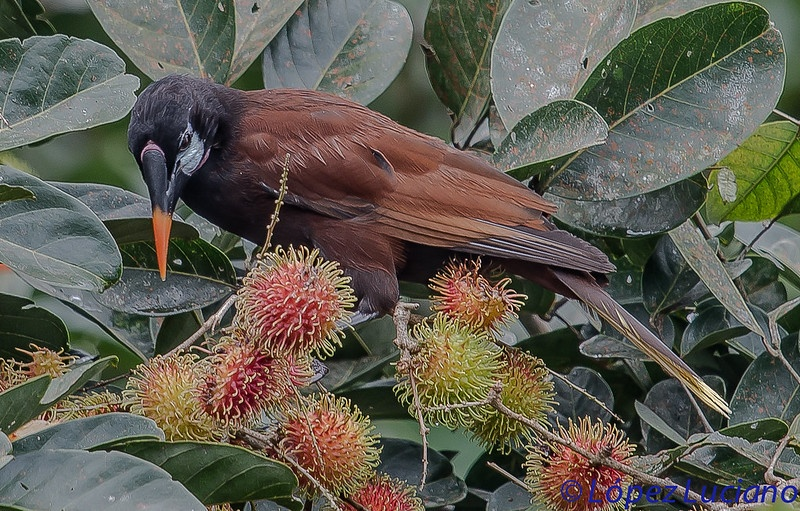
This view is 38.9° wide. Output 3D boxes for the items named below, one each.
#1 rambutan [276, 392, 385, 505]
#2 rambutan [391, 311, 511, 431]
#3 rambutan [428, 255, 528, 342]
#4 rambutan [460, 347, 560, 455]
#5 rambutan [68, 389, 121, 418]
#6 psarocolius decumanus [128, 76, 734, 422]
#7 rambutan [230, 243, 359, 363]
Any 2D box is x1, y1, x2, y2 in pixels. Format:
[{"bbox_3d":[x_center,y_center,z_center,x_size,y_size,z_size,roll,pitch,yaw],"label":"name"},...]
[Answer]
[{"bbox_3d":[-0.198,0.546,3.404,0.307,0.307,0.289,36,5,23],"label":"rambutan"},{"bbox_3d":[0.131,0.314,3.485,0.329,0.322,0.440,-4,9,-6],"label":"rambutan"},{"bbox_3d":[0.260,0.137,3.556,0.266,0.143,0.256,-1,31,-27],"label":"rambutan"},{"bbox_3d":[0.338,0.428,3.471,0.274,0.328,0.240,-3,14,-12],"label":"rambutan"},{"bbox_3d":[-0.871,0.418,3.265,0.113,0.037,0.076,-11,8,-39],"label":"rambutan"},{"bbox_3d":[0.076,-0.110,4.152,2.190,0.826,0.599,6,0,-8],"label":"psarocolius decumanus"},{"bbox_3d":[-0.290,0.147,3.378,0.364,0.339,0.324,-5,-3,3],"label":"rambutan"}]
